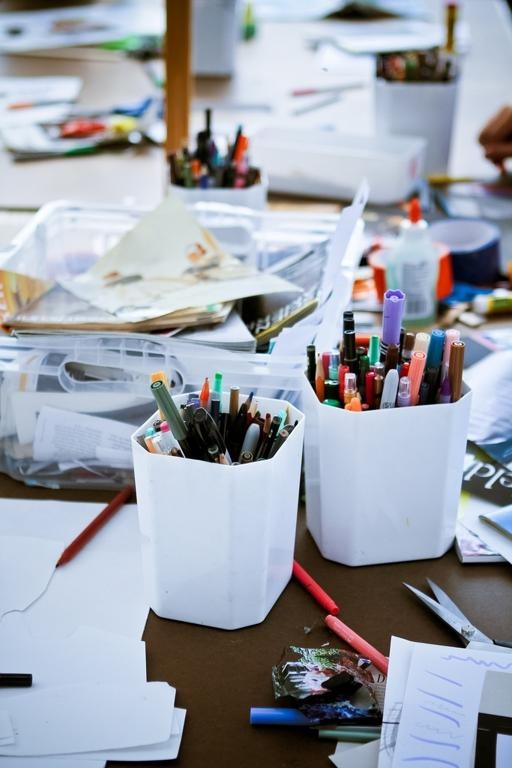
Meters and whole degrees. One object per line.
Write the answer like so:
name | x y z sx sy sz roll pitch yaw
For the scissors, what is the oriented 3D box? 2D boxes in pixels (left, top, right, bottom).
scissors | 0.129 0.153 0.482 0.023 0.011 0.069 -20 33 -15

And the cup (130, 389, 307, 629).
cup | -0.023 0.087 0.493 0.101 0.137 0.095 0 19 0

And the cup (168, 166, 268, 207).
cup | -0.029 -0.222 0.851 0.135 0.042 0.061 -12 22 -34

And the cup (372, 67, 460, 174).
cup | 0.284 -0.467 1.345 0.147 0.169 0.136 0 19 0

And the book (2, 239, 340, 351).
book | -0.050 -0.082 0.685 0.362 0.072 0.160 -11 21 -33

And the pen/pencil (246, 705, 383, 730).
pen/pencil | 0.035 0.188 0.414 0.072 0.010 0.010 2 27 8

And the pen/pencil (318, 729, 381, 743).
pen/pencil | 0.051 0.195 0.409 0.033 0.007 0.006 2 19 4

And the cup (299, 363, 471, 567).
cup | 0.082 0.050 0.584 0.132 0.152 0.133 -2 22 1

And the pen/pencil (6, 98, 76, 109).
pen/pencil | -0.347 -0.446 1.172 0.102 0.018 0.015 -7 43 -14

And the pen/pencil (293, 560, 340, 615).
pen/pencil | 0.036 0.138 0.517 0.012 0.010 0.066 -23 29 -19

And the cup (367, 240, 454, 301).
cup | 0.203 -0.146 0.996 0.115 0.076 0.117 1 7 0
